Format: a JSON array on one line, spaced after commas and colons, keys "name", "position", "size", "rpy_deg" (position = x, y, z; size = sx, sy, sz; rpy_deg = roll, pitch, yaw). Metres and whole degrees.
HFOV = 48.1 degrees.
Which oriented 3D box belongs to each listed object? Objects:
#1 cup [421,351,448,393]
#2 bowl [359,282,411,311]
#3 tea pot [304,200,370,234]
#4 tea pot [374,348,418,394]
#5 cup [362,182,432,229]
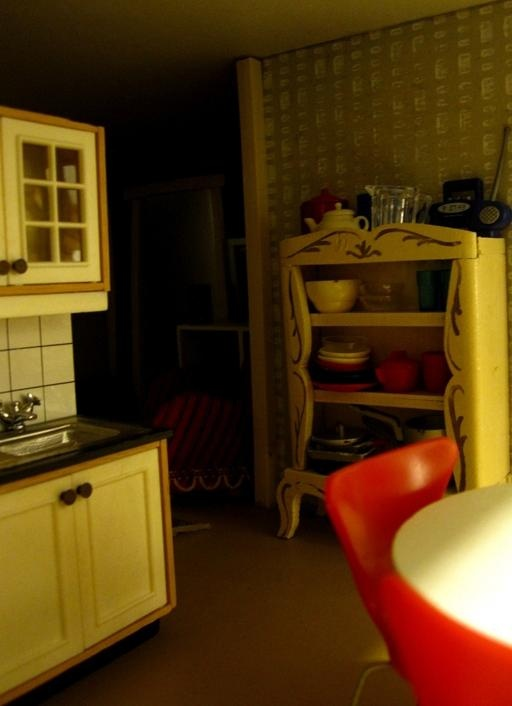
[{"name": "cup", "position": [0.774, 0.091, 2.477], "size": [0.098, 0.170, 0.121], "rpy_deg": [-1, 4, 5]}, {"name": "bowl", "position": [0.591, -0.238, 2.646], "size": [0.179, 0.108, 0.159], "rpy_deg": [1, 2, 8]}, {"name": "tea pot", "position": [0.367, -0.611, 2.646], "size": [0.248, 0.145, 0.177], "rpy_deg": [5, 12, 19]}, {"name": "tea pot", "position": [0.613, 0.090, 2.489], "size": [0.182, 0.242, 0.184], "rpy_deg": [0, -4, 0]}, {"name": "cup", "position": [0.597, -0.627, 2.586], "size": [0.282, 0.223, 0.237], "rpy_deg": [18, 29, 34]}]
